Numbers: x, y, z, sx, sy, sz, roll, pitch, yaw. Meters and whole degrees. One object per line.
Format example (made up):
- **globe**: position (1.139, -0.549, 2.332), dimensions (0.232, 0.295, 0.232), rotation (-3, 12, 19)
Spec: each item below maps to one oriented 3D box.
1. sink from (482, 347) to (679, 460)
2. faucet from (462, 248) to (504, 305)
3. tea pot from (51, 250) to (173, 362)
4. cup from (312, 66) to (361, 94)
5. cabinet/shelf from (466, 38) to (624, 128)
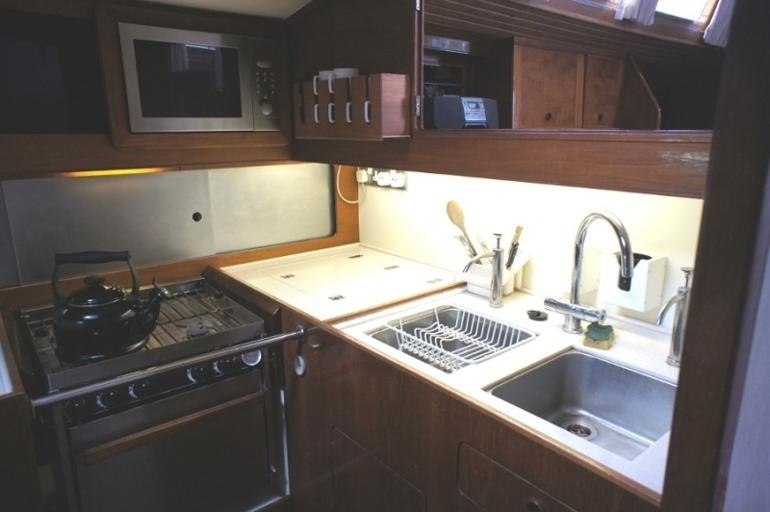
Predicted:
- **sink**: position (0.657, 0.460, 1.680), dimensions (0.392, 0.244, 0.379), rotation (-18, 26, -38)
- **faucet**: position (0.405, 0.092, 2.151), dimensions (0.153, 0.220, 0.150), rotation (-13, 25, -30)
- **tea pot**: position (-1.017, 0.143, 2.055), dimensions (0.421, 0.397, 0.323), rotation (-6, 19, -24)
- **cup**: position (-0.184, -0.682, 2.022), dimensions (0.154, 0.112, 0.115), rotation (-9, 15, -38)
- **cabinet/shelf**: position (0.512, -0.461, 1.478), dimensions (0.292, 0.199, 0.160), rotation (0, 18, 5)
